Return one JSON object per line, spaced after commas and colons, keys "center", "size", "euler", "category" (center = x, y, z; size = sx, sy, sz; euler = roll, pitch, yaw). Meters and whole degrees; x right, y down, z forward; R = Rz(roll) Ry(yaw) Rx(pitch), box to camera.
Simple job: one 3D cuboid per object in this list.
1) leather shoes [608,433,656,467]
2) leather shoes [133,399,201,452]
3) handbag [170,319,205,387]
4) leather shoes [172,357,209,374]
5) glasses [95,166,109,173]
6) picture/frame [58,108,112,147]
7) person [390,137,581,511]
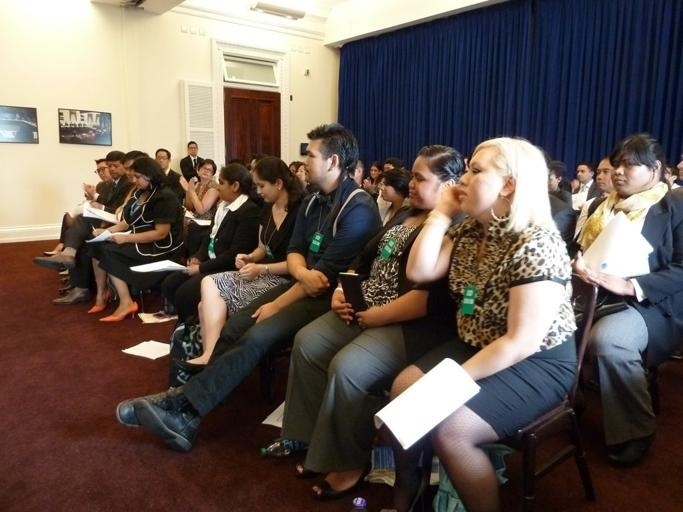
{"center": [1.385, 0.889, 2.191], "size": [0.180, 0.132, 0.146], "euler": [-41, -16, 21], "category": "leather shoes"}
{"center": [-0.855, 0.817, 2.238], "size": [0.281, 0.277, 0.129], "euler": [2, 13, 7], "category": "leather shoes"}
{"center": [-0.930, 0.564, 2.749], "size": [0.157, 0.203, 0.479], "euler": [1, 18, -17], "category": "handbag"}
{"center": [-0.836, 0.613, 2.537], "size": [0.211, 0.067, 0.077], "euler": [23, -9, -29], "category": "leather shoes"}
{"center": [-2.984, -1.082, 5.654], "size": [0.115, 0.037, 0.126], "euler": [-2, 2, 9], "category": "glasses"}
{"center": [-4.223, -2.096, 7.326], "size": [0.644, 0.488, 0.023], "euler": [-5, 10, -41], "category": "picture/frame"}
{"center": [0.517, 0.284, 1.674], "size": [0.647, 1.401, 0.581], "euler": [8, 15, 30], "category": "person"}
